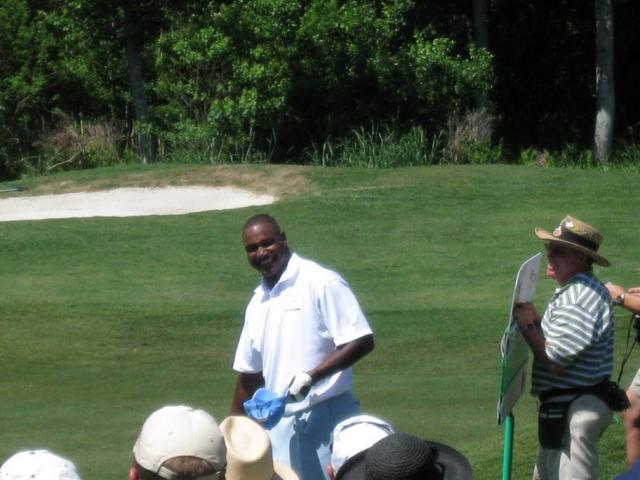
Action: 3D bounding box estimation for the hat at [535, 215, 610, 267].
[{"bbox_3d":[4.845,0.119,33.179,1.150,0.448,0.991,25,-4,-11],"label":"hat"}]

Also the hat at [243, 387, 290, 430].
[{"bbox_3d":[-1.018,3.175,32.546,0.765,0.359,0.732,20,46,15],"label":"hat"}]

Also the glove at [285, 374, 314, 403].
[{"bbox_3d":[-0.397,2.814,32.462,0.488,0.554,0.177,-1,3,-2],"label":"glove"}]
